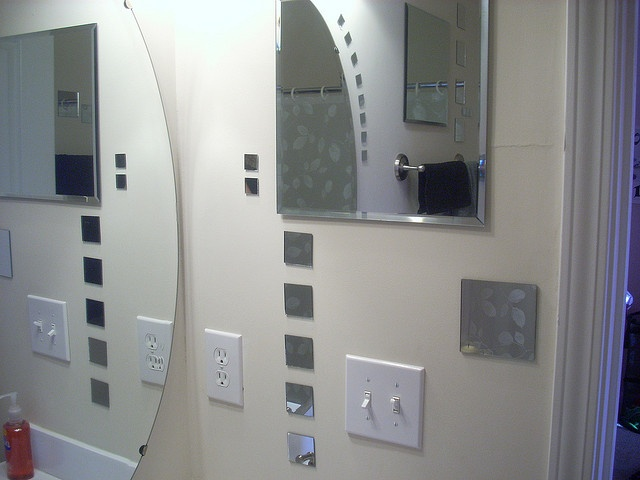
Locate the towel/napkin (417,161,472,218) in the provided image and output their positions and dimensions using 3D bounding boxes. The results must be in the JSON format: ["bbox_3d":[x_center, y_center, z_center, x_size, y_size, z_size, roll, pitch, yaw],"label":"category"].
[{"bbox_3d":[0.248,-0.109,1.070,0.088,0.099,0.038,-7,11,1],"label":"towel/napkin"}]

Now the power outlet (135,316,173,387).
[{"bbox_3d":[-0.381,0.259,1.224,0.073,0.155,0.018,19,-47,-42],"label":"power outlet"}]
